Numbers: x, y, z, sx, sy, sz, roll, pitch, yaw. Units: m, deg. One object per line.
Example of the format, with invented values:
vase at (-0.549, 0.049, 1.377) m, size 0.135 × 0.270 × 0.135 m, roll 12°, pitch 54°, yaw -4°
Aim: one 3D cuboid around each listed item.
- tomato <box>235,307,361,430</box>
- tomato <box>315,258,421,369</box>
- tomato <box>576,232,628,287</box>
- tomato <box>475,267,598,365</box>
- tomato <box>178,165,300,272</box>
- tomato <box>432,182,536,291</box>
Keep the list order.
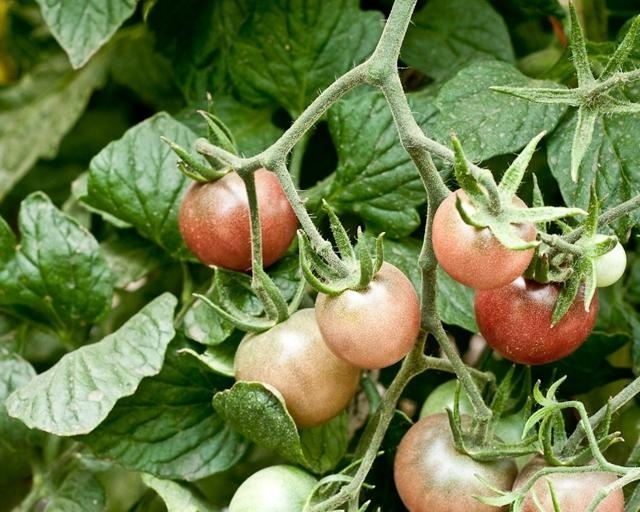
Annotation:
tomato at (-0.014, 0.094, 0.688) m, size 0.092 × 0.093 × 0.114 m, roll -39°, pitch 99°, yaw -10°
tomato at (0.040, 0.048, 0.596) m, size 0.081 × 0.051 × 0.065 m, roll -26°, pitch 56°, yaw -9°
tomato at (0.218, 0.002, 0.598) m, size 0.027 × 0.027 × 0.037 m, roll -36°, pitch 95°, yaw 1°
tomato at (0.171, 0.053, 0.621) m, size 0.073 × 0.077 × 0.078 m, roll 0°, pitch 100°, yaw -8°
tomato at (-0.072, -0.026, 0.701) m, size 0.104 × 0.091 × 0.072 m, roll -17°, pitch 55°, yaw -3°
tomato at (0.127, -0.022, 0.567) m, size 0.080 × 0.075 × 0.083 m, roll -1°, pitch 88°, yaw -19°
